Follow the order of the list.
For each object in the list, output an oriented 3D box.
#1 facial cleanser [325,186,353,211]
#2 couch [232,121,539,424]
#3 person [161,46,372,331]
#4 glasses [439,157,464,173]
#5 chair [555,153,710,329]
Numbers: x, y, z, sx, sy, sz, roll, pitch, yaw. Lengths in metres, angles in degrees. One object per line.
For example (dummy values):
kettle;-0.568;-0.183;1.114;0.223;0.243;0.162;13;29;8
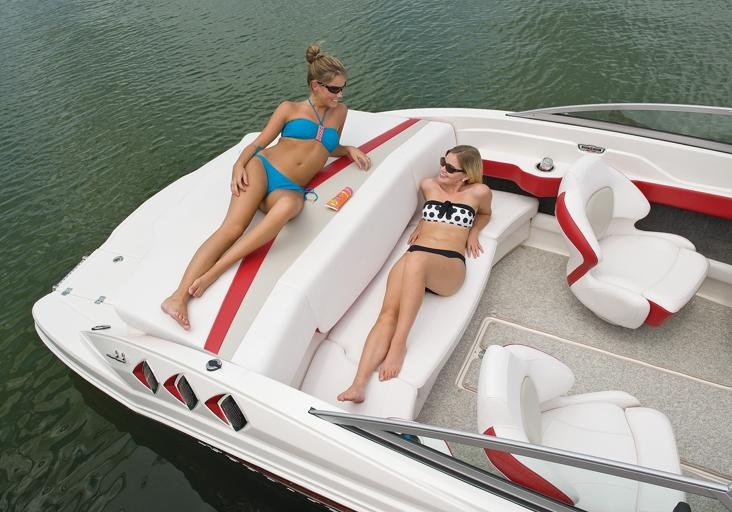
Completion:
facial cleanser;-0.182;-0.386;3.560;0.106;0.046;0.206;22;46;24
couch;0.090;0.139;3.432;1.144;0.835;2.493;29;71;14
person;-0.722;-0.563;3.693;0.929;0.792;2.028;37;64;1
glasses;0.620;-0.633;3.725;0.126;0.038;0.122;0;34;-36
chair;1.872;-0.074;3.701;0.803;1.059;1.009;-37;47;-27
